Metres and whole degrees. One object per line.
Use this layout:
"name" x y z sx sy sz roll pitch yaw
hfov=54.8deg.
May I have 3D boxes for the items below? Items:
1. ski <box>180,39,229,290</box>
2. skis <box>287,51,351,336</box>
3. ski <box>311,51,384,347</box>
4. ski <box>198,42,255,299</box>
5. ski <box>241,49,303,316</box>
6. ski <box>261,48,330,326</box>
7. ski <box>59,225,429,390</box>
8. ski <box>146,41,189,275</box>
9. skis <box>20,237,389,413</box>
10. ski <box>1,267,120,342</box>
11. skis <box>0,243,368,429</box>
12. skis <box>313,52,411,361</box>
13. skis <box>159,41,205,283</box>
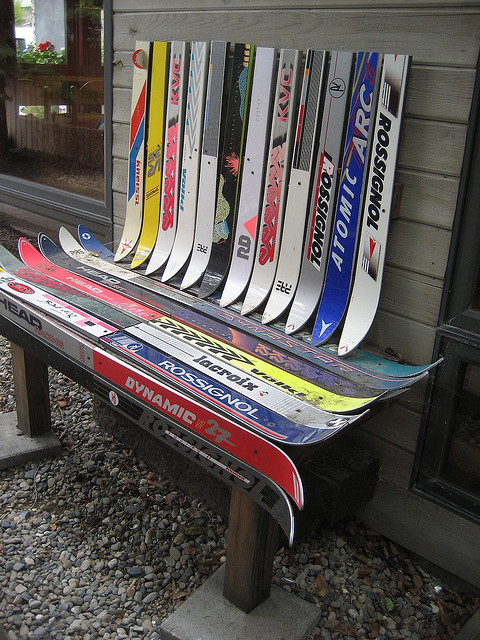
"ski" -0.125 -0.398 1.819 0.132 1.192 0.129 15 25 33
"skis" 0.249 -0.313 1.466 0.104 0.918 0.097 17 24 33
"ski" 0.314 -0.219 1.390 0.113 1.005 0.080 17 24 37
"ski" -0.058 -0.548 1.638 0.137 1.180 0.123 15 22 35
"ski" 0.105 -0.468 1.492 0.117 1.038 0.081 14 21 35
"ski" 0.171 -0.237 1.503 0.123 1.098 0.082 16 24 33
"ski" 0.038 -0.032 1.457 1.290 0.111 0.104 29 28 27
"ski" -0.286 -0.695 1.872 0.123 1.190 0.133 -12 21 -44
"skis" -0.096 0.012 1.460 1.383 0.117 0.136 30 27 28
"ski" -0.652 -0.048 1.648 0.069 0.048 0.576 -25 41 -38
"skis" -0.169 0.034 1.469 1.470 0.116 0.159 30 28 28
"skis" 0.337 -0.269 1.308 0.177 0.817 0.103 14 21 33
"skis" -0.222 -0.603 1.819 0.134 1.153 0.112 9 14 36
